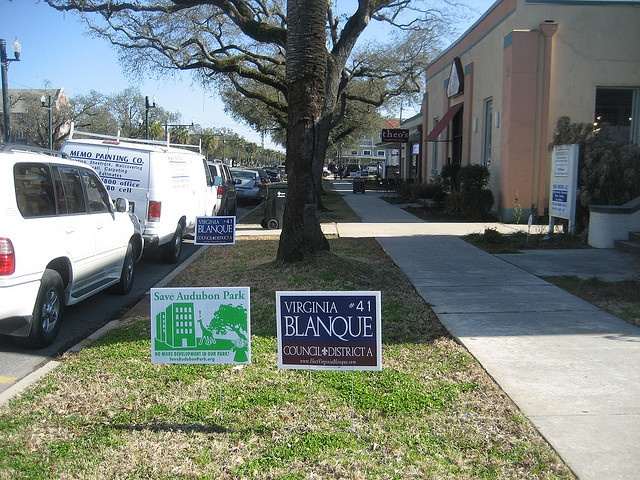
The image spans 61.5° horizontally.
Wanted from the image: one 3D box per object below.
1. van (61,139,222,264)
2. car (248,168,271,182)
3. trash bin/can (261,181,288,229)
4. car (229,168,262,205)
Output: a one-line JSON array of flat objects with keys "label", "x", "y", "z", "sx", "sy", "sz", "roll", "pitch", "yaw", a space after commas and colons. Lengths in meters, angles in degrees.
[{"label": "van", "x": -4.122, "y": -1.133, "z": 13.135, "sx": 2.507, "sy": 2.530, "sz": 5.423, "roll": 7, "pitch": 9, "yaw": -1}, {"label": "car", "x": -3.233, "y": -3.738, "z": 30.868, "sx": 0.910, "sy": 0.841, "sz": 1.562, "roll": 1, "pitch": 14, "yaw": 11}, {"label": "trash bin/can", "x": -1.167, "y": -1.097, "z": 16.598, "sx": 0.916, "sy": 1.418, "sz": 0.791, "roll": 0, "pitch": 14, "yaw": -7}, {"label": "car", "x": -3.678, "y": -2.679, "z": 27.025, "sx": 1.161, "sy": 1.111, "sz": 2.214, "roll": 1, "pitch": 12, "yaw": 5}]
